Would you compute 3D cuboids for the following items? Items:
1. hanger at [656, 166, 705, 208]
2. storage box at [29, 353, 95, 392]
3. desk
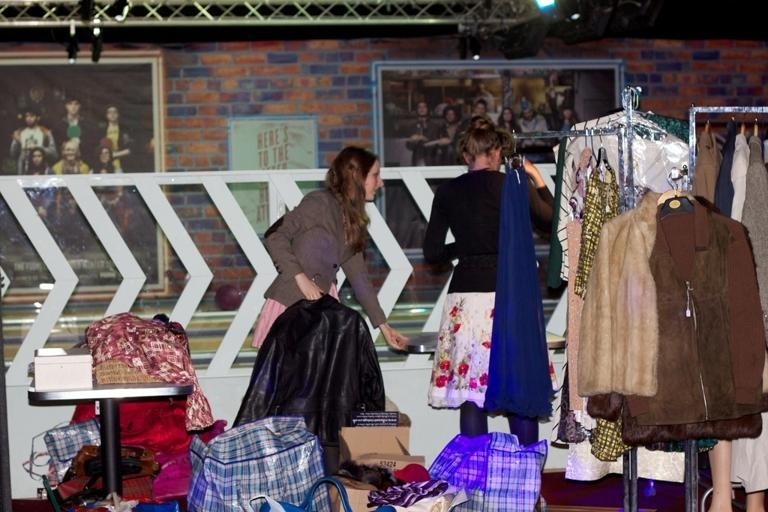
[{"bbox_3d":[2.027,-0.477,10.821,0.241,0.221,0.428,-2,9,12],"label":"hanger"},{"bbox_3d":[-2.201,0.919,10.753,0.459,0.451,0.248,1,50,-9],"label":"storage box"},{"bbox_3d":[-1.848,1.214,10.650,0.908,0.833,0.888,0,-2,-25],"label":"desk"}]
